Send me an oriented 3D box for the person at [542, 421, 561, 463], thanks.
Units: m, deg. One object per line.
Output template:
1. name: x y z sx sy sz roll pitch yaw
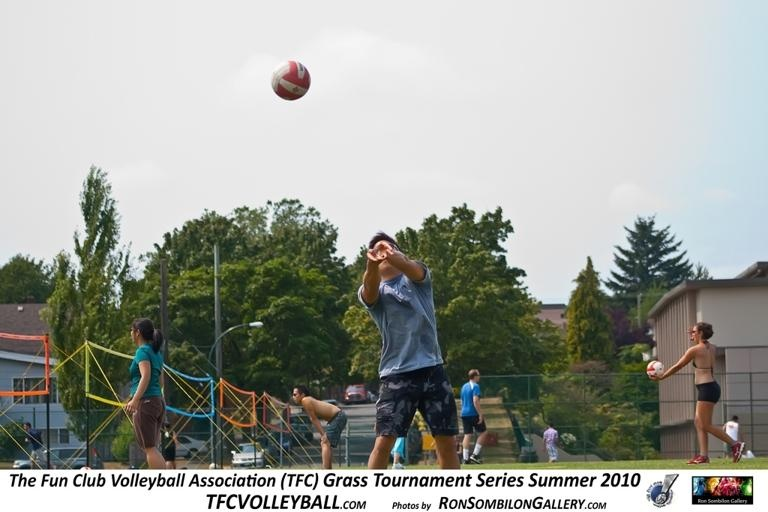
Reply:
1. person: 6.203 6.923 49.123 0.700 1.383 0.600 5 -16 -17

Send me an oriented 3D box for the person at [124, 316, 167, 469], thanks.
1. person: -6.045 3.504 33.746 0.829 3.833 1.038 -7 -17 23

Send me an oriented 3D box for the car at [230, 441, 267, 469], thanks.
1. car: -5.715 8.366 55.127 1.362 1.040 3.017 0 -15 -5

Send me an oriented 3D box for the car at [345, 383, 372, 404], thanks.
1. car: -2.161 11.402 108.474 1.220 1.117 2.754 -1 -10 3
